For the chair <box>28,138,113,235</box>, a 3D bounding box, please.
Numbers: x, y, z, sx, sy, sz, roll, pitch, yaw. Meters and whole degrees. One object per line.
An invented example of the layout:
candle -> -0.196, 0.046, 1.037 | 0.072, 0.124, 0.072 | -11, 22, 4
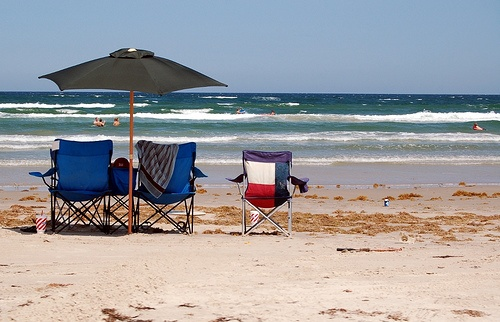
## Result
chair -> -3.917, 0.550, 19.635 | 2.497, 1.979, 1.468 | 1, -3, -33

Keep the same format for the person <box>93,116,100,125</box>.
person -> -7.085, -1.860, 41.604 | 0.411, 0.399, 0.770 | -1, -3, -11

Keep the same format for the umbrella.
umbrella -> -3.024, -0.620, 20.595 | 4.652, 3.457, 4.315 | 2, 6, 12

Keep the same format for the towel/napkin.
towel/napkin -> -1.973, 0.215, 19.241 | 1.532, 1.514, 0.223 | 0, -7, -2

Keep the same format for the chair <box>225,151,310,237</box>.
chair -> 0.395, 0.653, 19.304 | 2.135, 1.700, 1.347 | 1, 1, -8

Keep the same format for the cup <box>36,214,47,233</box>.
cup -> -4.410, 1.329, 18.983 | 0.190, 0.385, 0.207 | 2, 9, 0
